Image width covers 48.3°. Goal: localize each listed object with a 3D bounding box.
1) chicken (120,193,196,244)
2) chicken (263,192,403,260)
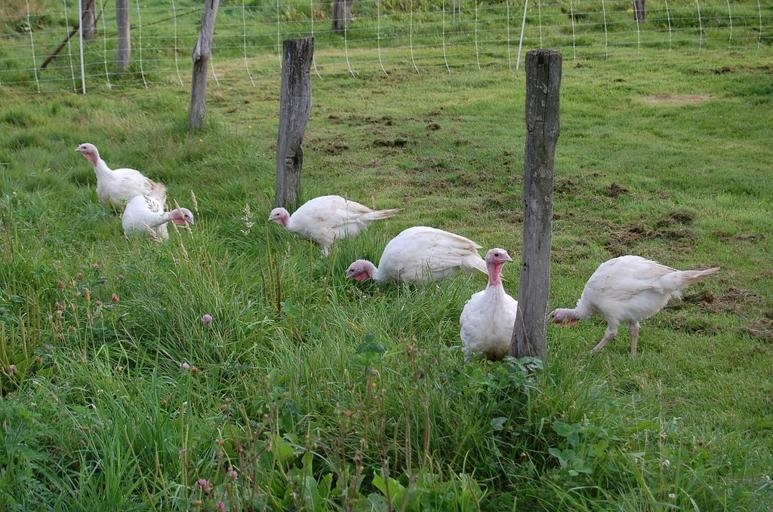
[{"bbox_3d":[-3.083,-0.474,11.256,1.121,0.542,0.608,12,16,28],"label":"chicken"},{"bbox_3d":[-0.696,-0.495,11.651,1.998,1.032,0.740,-5,5,-6],"label":"chicken"}]
